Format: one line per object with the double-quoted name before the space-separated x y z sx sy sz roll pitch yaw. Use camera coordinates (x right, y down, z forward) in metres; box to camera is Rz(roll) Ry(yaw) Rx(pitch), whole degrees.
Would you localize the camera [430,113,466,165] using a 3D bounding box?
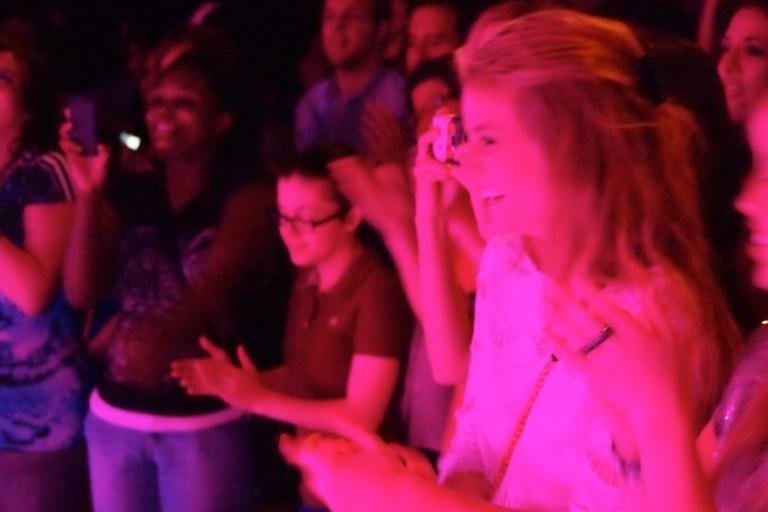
"camera" 0.237 -0.424 2.833 0.100 0.176 0.123 -5 18 -28
